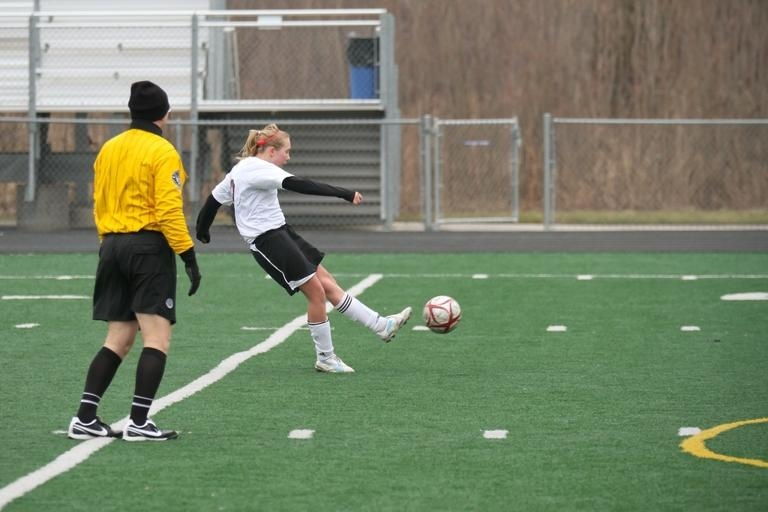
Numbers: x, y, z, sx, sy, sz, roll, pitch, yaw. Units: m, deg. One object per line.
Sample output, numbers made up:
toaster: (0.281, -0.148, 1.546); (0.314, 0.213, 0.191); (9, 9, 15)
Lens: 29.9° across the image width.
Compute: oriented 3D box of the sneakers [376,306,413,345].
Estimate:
sneakers: (0.101, 0.860, 18.424); (0.203, 0.265, 0.582); (-44, -5, 26)

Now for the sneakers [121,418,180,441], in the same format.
sneakers: (-2.711, 1.990, 16.505); (0.691, 0.277, 0.239); (0, -4, -8)

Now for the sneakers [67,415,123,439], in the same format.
sneakers: (-3.351, 1.974, 16.541); (0.688, 0.277, 0.237); (1, -1, -8)

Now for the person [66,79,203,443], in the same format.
person: (-2.854, 0.043, 16.433); (1.322, 4.069, 0.603); (-1, 5, -9)

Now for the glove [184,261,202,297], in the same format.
glove: (-2.140, 0.254, 16.475); (0.138, 0.375, 0.301); (9, 1, -41)

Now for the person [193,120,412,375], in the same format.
person: (-1.063, -0.104, 17.989); (1.659, 3.067, 0.985); (2, 6, 23)

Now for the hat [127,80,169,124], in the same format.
hat: (-2.684, -1.806, 16.488); (0.455, 0.437, 0.492); (-3, 39, 15)

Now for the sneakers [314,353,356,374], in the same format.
sneakers: (-0.636, 1.351, 18.057); (0.514, 0.201, 0.207); (3, 2, 1)
